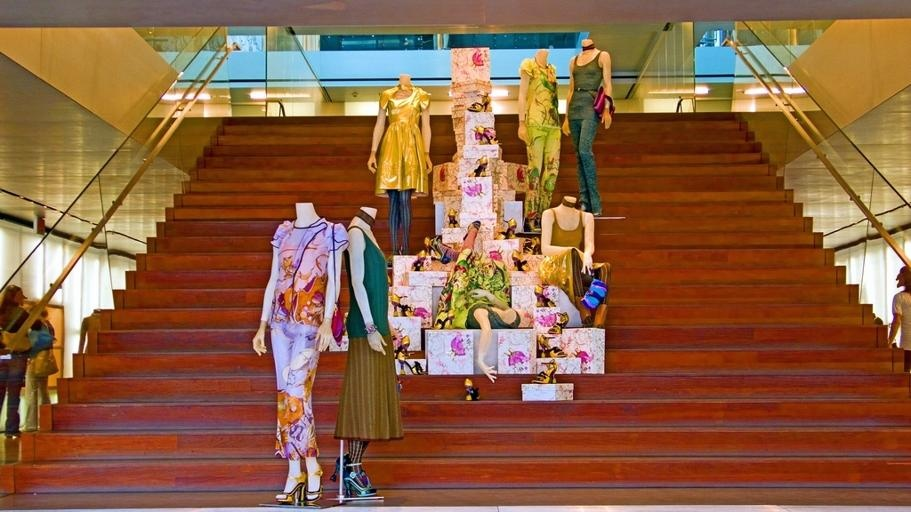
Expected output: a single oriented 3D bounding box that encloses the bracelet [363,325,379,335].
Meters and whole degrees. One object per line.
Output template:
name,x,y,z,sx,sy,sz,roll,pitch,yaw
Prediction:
bracelet,-0.819,0.720,9.081,0.103,0.043,0.085,-8,75,-13
